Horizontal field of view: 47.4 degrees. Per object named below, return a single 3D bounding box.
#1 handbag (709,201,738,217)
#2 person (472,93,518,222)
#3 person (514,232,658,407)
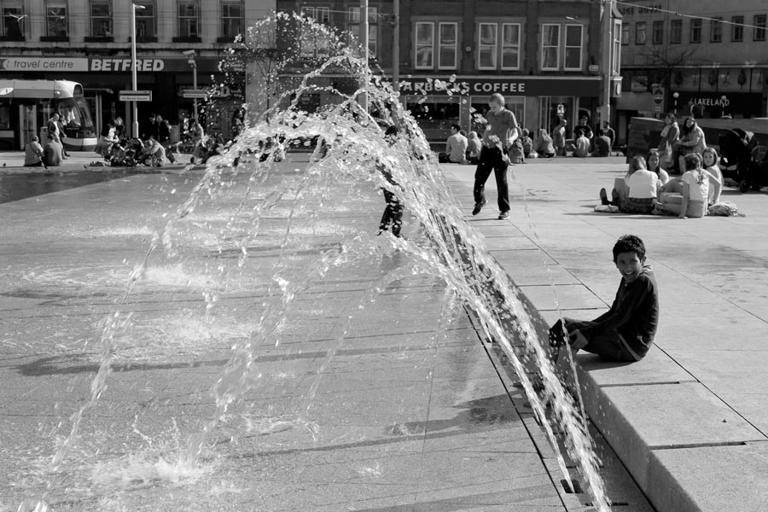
[{"bbox_3d":[6.318,-0.880,16.400,0.521,0.223,0.433,1,15,18],"label":"handbag"},{"bbox_3d":[2.008,-1.852,16.086,0.845,2.315,1.408,-2,15,7],"label":"person"},{"bbox_3d":[1.954,0.377,7.761,0.861,1.088,0.371,0,15,15],"label":"person"}]
